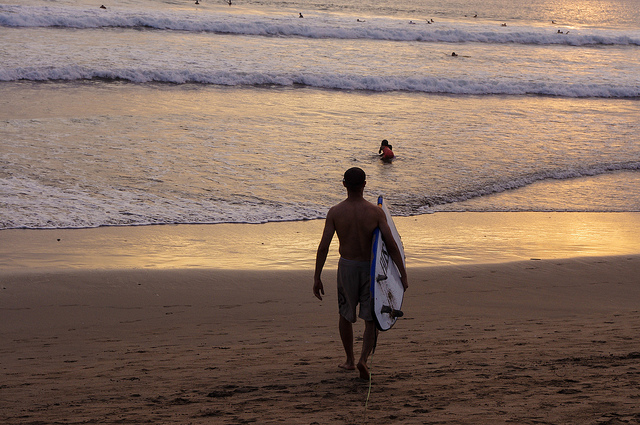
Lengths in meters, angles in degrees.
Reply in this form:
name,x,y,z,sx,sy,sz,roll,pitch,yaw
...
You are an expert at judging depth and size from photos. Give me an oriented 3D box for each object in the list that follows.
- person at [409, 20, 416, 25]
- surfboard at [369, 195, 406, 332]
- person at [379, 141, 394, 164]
name,x,y,z,sx,sy,sz,roll,pitch,yaw
person,6.367,-13.101,82.157,0.273,0.240,0.729,5,16,16
surfboard,2.120,2.108,37.514,1.066,3.175,0.832,3,11,3
person,2.630,-2.394,47.430,0.529,0.882,0.432,2,10,0
